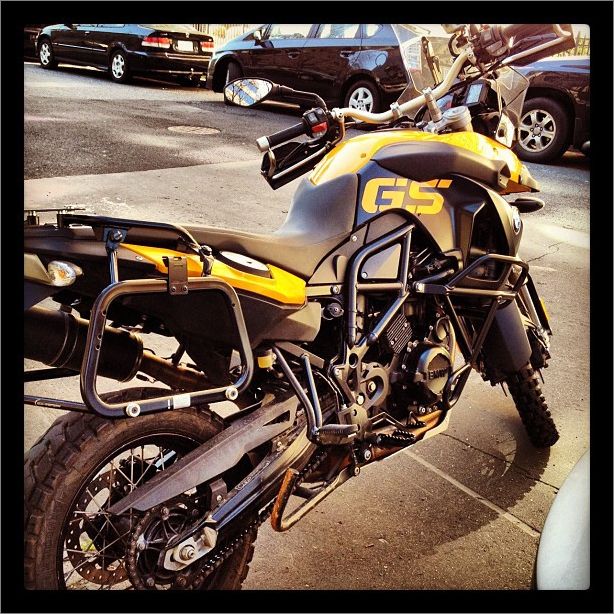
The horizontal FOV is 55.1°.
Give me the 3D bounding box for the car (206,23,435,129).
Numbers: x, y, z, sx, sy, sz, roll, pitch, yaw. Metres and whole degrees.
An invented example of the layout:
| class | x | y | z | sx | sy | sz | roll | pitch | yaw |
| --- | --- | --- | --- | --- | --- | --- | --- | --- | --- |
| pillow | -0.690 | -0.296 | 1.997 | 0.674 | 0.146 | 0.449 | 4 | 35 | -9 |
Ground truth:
| class | x | y | z | sx | sy | sz | roll | pitch | yaw |
| --- | --- | --- | --- | --- | --- | --- | --- | --- | --- |
| car | 0.099 | -2.005 | 4.811 | 1.771 | 0.739 | 0.963 | 14 | 22 | 19 |
